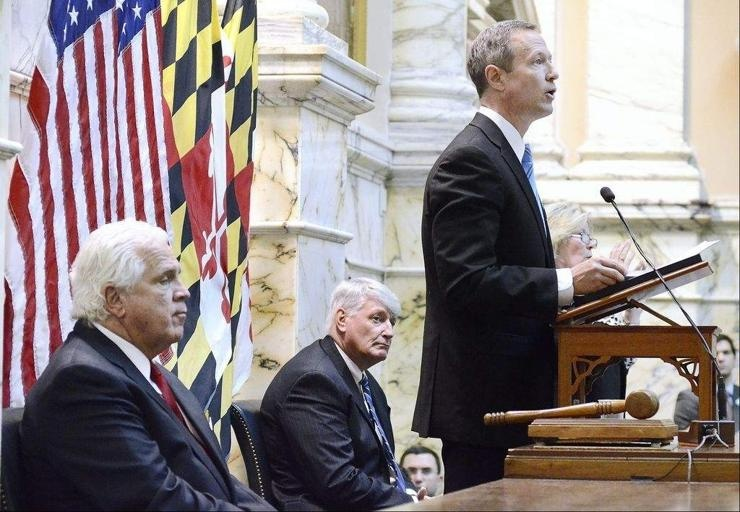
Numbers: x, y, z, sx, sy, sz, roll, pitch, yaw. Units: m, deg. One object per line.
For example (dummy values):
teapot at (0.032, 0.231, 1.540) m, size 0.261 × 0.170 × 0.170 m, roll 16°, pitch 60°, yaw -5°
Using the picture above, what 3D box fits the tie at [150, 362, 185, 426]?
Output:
tie at (-0.885, 0.625, 6.387) m, size 0.033 × 0.293 × 0.041 m, roll -34°, pitch -8°, yaw 30°

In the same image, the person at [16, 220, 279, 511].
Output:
person at (-0.843, 0.553, 6.774) m, size 1.127 × 1.592 × 0.994 m, roll -5°, pitch -6°, yaw 1°

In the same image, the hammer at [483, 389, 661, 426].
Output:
hammer at (0.838, 0.663, 6.259) m, size 0.494 × 0.101 × 0.126 m, roll -9°, pitch -7°, yaw 9°

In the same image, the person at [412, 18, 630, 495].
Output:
person at (0.608, -0.001, 6.775) m, size 0.784 × 2.142 × 0.643 m, roll 0°, pitch -14°, yaw -3°

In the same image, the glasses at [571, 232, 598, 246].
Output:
glasses at (1.091, -0.087, 7.405) m, size 0.080 × 0.026 × 0.084 m, roll 3°, pitch -9°, yaw 32°

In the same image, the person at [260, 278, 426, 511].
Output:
person at (-0.164, 0.734, 7.415) m, size 0.599 × 1.106 × 0.633 m, roll -19°, pitch -35°, yaw 20°
